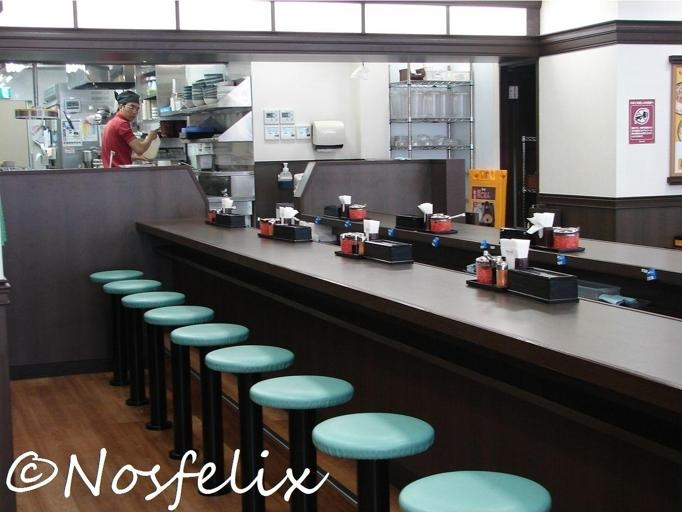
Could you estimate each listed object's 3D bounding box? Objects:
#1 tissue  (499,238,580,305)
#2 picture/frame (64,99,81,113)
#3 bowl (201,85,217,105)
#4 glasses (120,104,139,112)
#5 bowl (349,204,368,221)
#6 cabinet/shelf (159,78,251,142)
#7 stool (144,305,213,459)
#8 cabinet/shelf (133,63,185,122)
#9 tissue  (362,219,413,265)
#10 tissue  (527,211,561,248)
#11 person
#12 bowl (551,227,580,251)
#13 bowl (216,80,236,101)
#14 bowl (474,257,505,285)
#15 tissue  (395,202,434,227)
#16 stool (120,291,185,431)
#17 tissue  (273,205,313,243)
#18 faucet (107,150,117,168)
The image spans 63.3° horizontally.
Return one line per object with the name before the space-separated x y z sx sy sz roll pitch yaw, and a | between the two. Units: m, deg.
tissue  | 0.760 0.047 2.085 0.329 0.183 0.316 8 7 -16
picture/frame | -5.184 -2.878 10.553 0.302 0.253 0.106 1 12 -11
bowl | -1.932 -2.353 8.057 0.278 0.296 0.139 6 12 37
glasses | -2.362 -1.626 6.075 0.134 0.039 0.133 5 9 42
bowl | 0.150 -0.374 4.692 0.144 0.114 0.139 1 4 0
cabinet/shelf | -2.189 -2.257 8.651 0.548 0.926 1.969 -9 14 -43
stool | -0.897 0.794 3.108 0.386 0.664 0.366 -1 -6 -19
cabinet/shelf | -2.924 -2.641 8.946 0.555 1.120 1.810 0 4 -23
tissue  | 0.233 -0.079 2.863 0.171 0.197 0.293 -7 12 -36
tissue  | 1.142 -0.141 3.135 0.119 0.161 0.171 2 7 34
person | -2.348 -1.414 6.044 0.469 0.832 0.781 -7 11 -32
bowl | 1.266 -0.098 3.094 0.138 0.102 0.131 0 3 0
bowl | -1.712 -2.397 8.052 0.293 0.260 0.283 0 11 0
bowl | 0.597 0.055 2.180 0.085 0.120 0.133 -6 11 -41
tissue  | 0.620 -0.322 4.198 0.237 0.155 0.236 -3 4 -34
stool | -1.399 0.714 4.117 0.498 0.754 0.476 -1 -9 -30
tissue  | -0.324 -0.222 3.670 0.151 0.217 0.258 -7 14 -38
faucet | -2.518 -1.074 6.031 0.073 0.172 0.210 -5 10 -23
